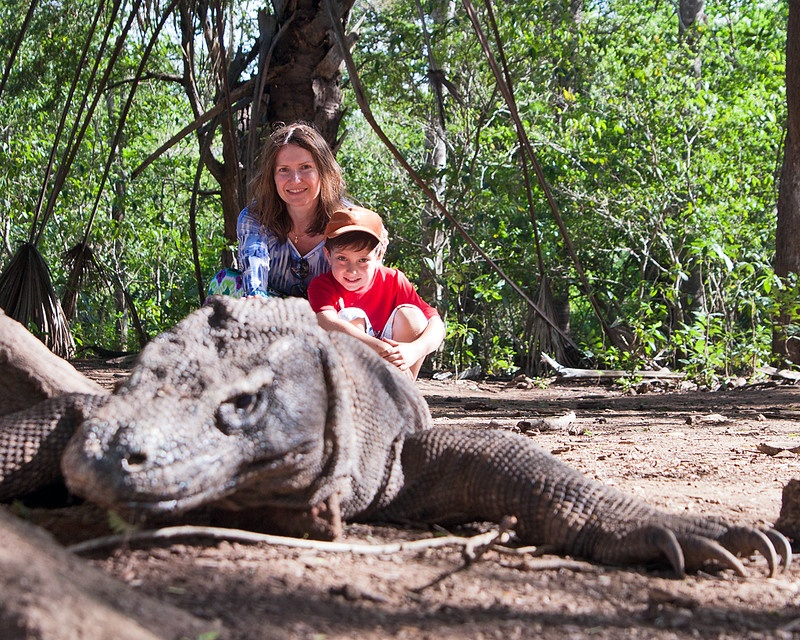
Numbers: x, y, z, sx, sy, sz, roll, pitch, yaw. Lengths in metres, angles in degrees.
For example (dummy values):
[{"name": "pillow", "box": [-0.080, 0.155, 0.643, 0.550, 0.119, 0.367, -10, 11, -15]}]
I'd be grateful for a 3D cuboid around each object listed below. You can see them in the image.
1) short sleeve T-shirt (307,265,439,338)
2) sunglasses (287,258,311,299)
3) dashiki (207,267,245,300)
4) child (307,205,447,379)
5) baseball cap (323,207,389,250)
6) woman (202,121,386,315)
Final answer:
[{"name": "short sleeve T-shirt", "box": [-0.179, -0.134, 4.400, 0.391, 0.337, 0.529, -5, 15, -33]}, {"name": "sunglasses", "box": [-0.567, -0.238, 4.659, 0.136, 0.226, 0.083, 1, -2, 11]}, {"name": "dashiki", "box": [-0.997, -0.228, 4.666, 0.153, 0.151, 0.513, 2, 2, -15]}, {"name": "child", "box": [-0.122, -0.086, 4.247, 0.612, 1.063, 0.902, -8, 9, -17]}, {"name": "baseball cap", "box": [-0.239, -0.496, 4.332, 0.313, 0.253, 0.442, 0, 2, -11]}, {"name": "woman", "box": [-0.548, -0.647, 4.766, 0.707, 1.097, 1.043, 7, 13, 3]}]
